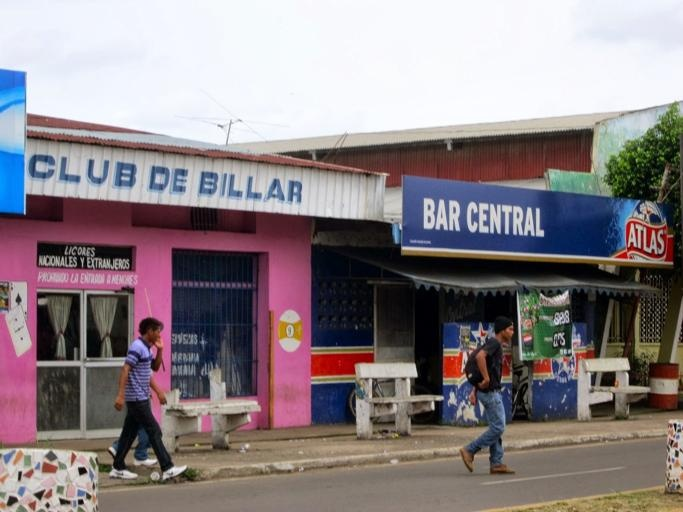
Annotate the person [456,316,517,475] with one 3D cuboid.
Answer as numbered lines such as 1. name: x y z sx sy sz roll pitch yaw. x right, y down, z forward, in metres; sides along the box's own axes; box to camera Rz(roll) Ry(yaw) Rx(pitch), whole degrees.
1. person: 2.397 2.232 14.882 0.893 2.468 1.200 -4 -5 10

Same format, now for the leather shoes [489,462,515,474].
1. leather shoes: 2.531 3.305 14.373 0.337 0.177 0.155 -3 -2 -2

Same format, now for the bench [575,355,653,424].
1. bench: 6.535 3.153 21.667 1.704 1.574 1.091 3 -5 -38

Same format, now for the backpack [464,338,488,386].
1. backpack: 2.116 1.801 14.754 0.506 0.595 0.400 -3 -6 3

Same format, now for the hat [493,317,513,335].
1. hat: 2.615 1.116 14.746 0.248 0.276 0.251 -4 -2 0

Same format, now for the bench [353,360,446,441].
1. bench: 1.134 2.880 18.157 1.683 1.503 0.600 2 -3 -32

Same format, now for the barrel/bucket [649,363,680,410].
1. barrel/bucket: 8.698 3.484 24.622 0.796 1.273 0.589 -5 -6 20

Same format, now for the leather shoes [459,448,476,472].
1. leather shoes: 1.998 3.234 14.426 0.186 0.530 0.178 -11 12 6
